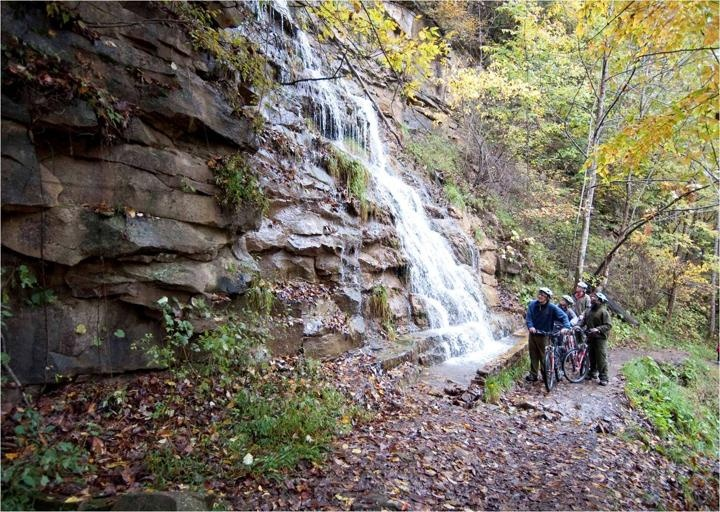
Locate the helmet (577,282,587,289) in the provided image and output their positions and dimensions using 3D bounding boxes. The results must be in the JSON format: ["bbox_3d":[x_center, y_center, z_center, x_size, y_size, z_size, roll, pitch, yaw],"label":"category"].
[{"bbox_3d":[6.663,0.868,15.501,0.282,0.155,0.197,26,6,-1],"label":"helmet"}]

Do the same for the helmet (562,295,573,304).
[{"bbox_3d":[6.249,1.293,15.716,0.286,0.265,0.218,48,-15,-8],"label":"helmet"}]

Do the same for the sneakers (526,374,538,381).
[{"bbox_3d":[4.843,3.419,14.673,0.238,0.122,0.197,4,-6,-42],"label":"sneakers"}]

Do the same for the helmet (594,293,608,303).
[{"bbox_3d":[6.802,1.151,14.732,0.251,0.280,0.433,2,-5,22],"label":"helmet"}]
